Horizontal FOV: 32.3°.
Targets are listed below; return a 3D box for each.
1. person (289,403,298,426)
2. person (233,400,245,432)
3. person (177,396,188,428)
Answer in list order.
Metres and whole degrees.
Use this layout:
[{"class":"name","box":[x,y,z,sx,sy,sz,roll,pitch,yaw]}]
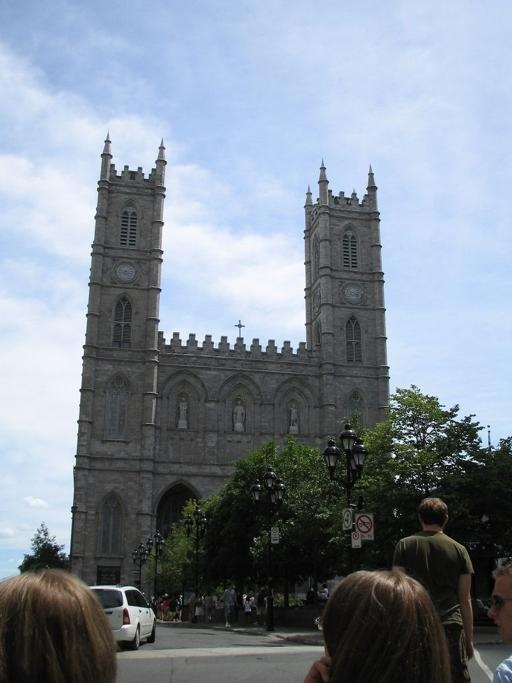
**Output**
[{"class":"person","box":[2.726,5.578,64.863,0.737,2.207,0.801,1,-13,0]},{"class":"person","box":[-1.256,5.443,64.435,0.999,2.463,0.652,3,-14,-7]},{"class":"person","box":[-5.229,5.082,63.195,0.756,2.354,0.413,5,-14,-13]}]
